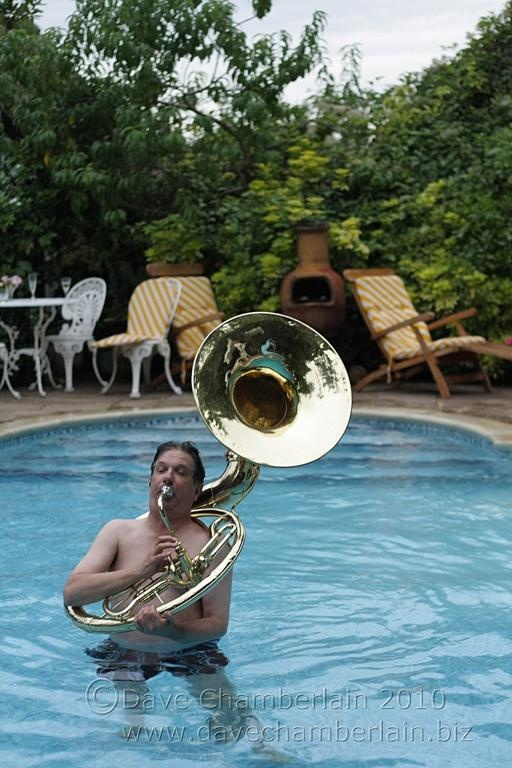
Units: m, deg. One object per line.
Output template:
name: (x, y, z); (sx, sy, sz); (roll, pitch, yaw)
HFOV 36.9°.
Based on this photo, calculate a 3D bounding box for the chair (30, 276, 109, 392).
chair: (-1.908, -0.536, 8.279); (0.709, 1.226, 0.684); (6, 5, 27)

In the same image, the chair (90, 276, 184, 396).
chair: (-1.157, -0.569, 7.961); (0.881, 1.270, 0.868); (12, 11, 39)
